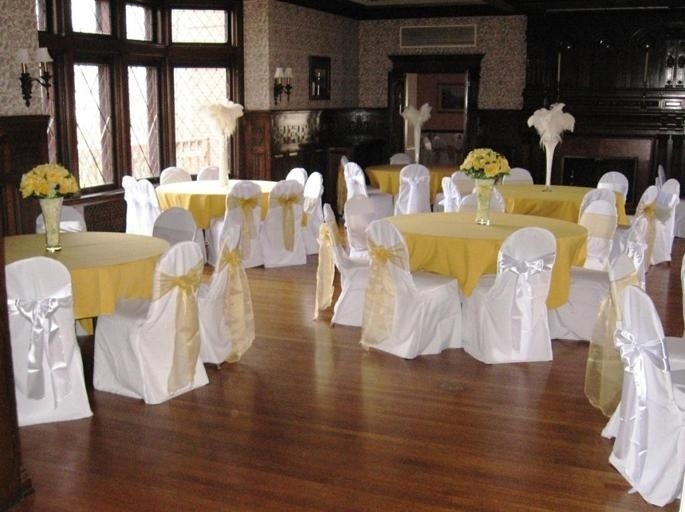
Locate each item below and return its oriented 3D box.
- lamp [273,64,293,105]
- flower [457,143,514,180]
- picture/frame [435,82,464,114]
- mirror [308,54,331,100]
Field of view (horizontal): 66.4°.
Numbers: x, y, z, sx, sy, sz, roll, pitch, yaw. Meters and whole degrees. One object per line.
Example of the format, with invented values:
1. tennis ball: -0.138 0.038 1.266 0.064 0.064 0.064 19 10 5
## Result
1. lamp: -1.086 -3.062 9.438 0.343 0.632 0.694 0 12 -7
2. flower: 1.306 -0.821 4.792 0.304 0.300 0.334 -3 7 -25
3. picture/frame: 2.984 -4.397 14.488 0.686 0.773 0.156 4 12 12
4. mirror: -0.495 -3.692 10.697 0.074 1.154 0.874 3 8 26
